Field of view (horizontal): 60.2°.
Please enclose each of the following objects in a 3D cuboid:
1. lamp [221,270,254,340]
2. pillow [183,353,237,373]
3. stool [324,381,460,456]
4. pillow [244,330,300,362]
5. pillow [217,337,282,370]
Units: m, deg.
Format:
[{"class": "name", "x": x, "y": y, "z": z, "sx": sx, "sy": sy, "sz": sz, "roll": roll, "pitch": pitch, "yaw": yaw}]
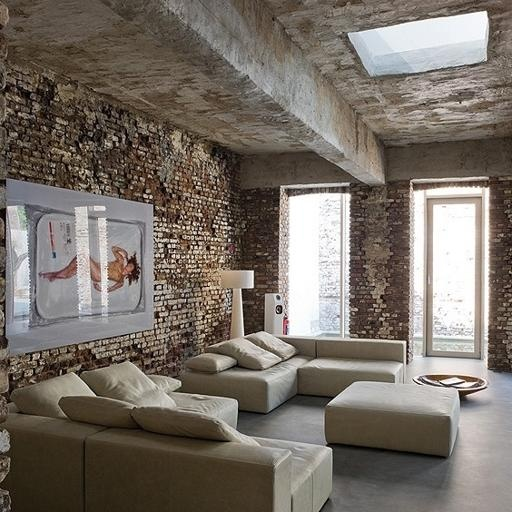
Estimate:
[{"class": "lamp", "x": -0.342, "y": 0.792, "z": 7.270, "sx": 0.522, "sy": 0.797, "sz": 0.647, "roll": 2, "pitch": -1, "yaw": -5}, {"class": "pillow", "x": -0.486, "y": 1.210, "z": 5.012, "sx": 0.622, "sy": 0.154, "sz": 0.340, "roll": 2, "pitch": -1, "yaw": -18}, {"class": "stool", "x": 1.270, "y": 1.434, "z": 4.064, "sx": 1.083, "sy": 0.428, "sz": 1.202, "roll": -3, "pitch": -4, "yaw": 22}, {"class": "pillow", "x": 0.225, "y": 1.152, "z": 5.751, "sx": 0.376, "sy": 0.122, "sz": 0.433, "roll": 23, "pitch": 3, "yaw": 9}, {"class": "pillow", "x": -0.044, "y": 1.140, "z": 5.649, "sx": 0.804, "sy": 0.245, "sz": 0.767, "roll": -8, "pitch": -6, "yaw": -29}]
